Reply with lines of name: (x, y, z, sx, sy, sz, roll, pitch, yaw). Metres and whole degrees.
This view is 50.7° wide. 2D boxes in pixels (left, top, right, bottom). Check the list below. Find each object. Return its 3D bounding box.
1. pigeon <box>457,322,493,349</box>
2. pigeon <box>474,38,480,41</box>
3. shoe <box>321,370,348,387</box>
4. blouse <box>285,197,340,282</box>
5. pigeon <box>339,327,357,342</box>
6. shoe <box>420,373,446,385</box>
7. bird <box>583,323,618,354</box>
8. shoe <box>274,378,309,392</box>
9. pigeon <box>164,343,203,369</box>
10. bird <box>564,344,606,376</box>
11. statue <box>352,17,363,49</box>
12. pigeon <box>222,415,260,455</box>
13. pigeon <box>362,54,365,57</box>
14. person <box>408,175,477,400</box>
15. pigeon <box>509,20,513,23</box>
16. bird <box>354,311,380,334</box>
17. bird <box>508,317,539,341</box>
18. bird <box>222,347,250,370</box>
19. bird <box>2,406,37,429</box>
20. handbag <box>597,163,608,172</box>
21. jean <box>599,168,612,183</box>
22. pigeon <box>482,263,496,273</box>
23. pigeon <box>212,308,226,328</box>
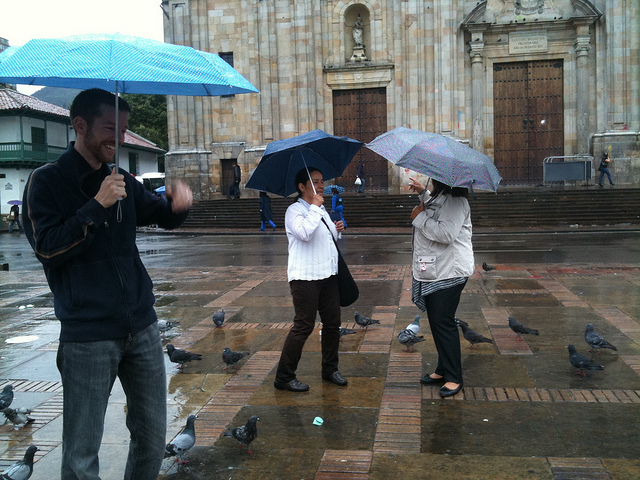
pigeon: (1.834, 1.160, 7.972, 0.250, 0.251, 0.472, -3, 9, -5)
pigeon: (7.241, -9.223, 30.954, 0.075, 0.125, 0.135, -14, 12, -31)
shoe: (0.154, 1.492, 7.189, 0.272, 0.105, 0.101, -1, 3, 36)
blouse: (-0.091, -0.036, 7.027, 0.509, 0.790, 0.606, 5, 14, 11)
pigeon: (0.368, 1.218, 8.759, 0.220, 0.149, 0.383, -1, 9, 2)
shoe: (1.186, 1.469, 7.076, 0.267, 0.077, 0.095, 6, -6, -9)
bird: (3.302, 1.146, 7.787, 0.432, 0.297, 0.237, 9, -7, 35)
shoe: (-0.297, 1.518, 6.988, 0.347, 0.141, 0.126, 0, 0, 6)
pigeon: (-1.544, 1.351, 7.623, 0.410, 0.279, 0.287, -1, 10, 5)
bird: (2.823, 1.293, 7.164, 0.418, 0.287, 0.147, 2, 4, 42)
statue: (1.800, -9.946, 32.366, 0.442, 1.503, 0.529, -1, 10, 3)
pigeon: (-0.687, 1.701, 5.906, 0.320, 0.374, 0.185, 4, 11, 18)
pigeon: (2.045, -8.861, 32.270, 0.275, 0.146, 0.179, 2, 7, -3)
person: (1.229, 0.463, 6.924, 0.628, 2.143, 0.753, 2, 10, 21)
pigeon: (8.766, -10.015, 30.825, 0.111, 0.099, 0.127, 1, 10, 15)
bird: (0.671, 1.087, 9.031, 0.458, 0.285, 0.152, 1, -2, -40)
bird: (2.507, 1.116, 8.316, 0.322, 0.288, 0.433, 1, 10, 15)
bird: (-0.970, 1.339, 7.569, 0.252, 0.275, 0.258, -4, 10, -13)
bird: (-2.850, 1.681, 6.397, 0.182, 0.131, 0.306, -37, -5, -4)
handbag: (12.096, -3.093, 28.718, 0.295, 0.397, 0.553, 2, 10, 22)
jean: (12.258, -2.781, 28.913, 0.436, 0.661, 1.112, 2, 10, 21)
pigeon: (3.272, 0.534, 12.952, 0.242, 0.156, 0.120, 2, 0, -11)
pigeon: (-1.402, 1.108, 9.288, 0.141, 0.244, 0.253, -4, 10, -10)
